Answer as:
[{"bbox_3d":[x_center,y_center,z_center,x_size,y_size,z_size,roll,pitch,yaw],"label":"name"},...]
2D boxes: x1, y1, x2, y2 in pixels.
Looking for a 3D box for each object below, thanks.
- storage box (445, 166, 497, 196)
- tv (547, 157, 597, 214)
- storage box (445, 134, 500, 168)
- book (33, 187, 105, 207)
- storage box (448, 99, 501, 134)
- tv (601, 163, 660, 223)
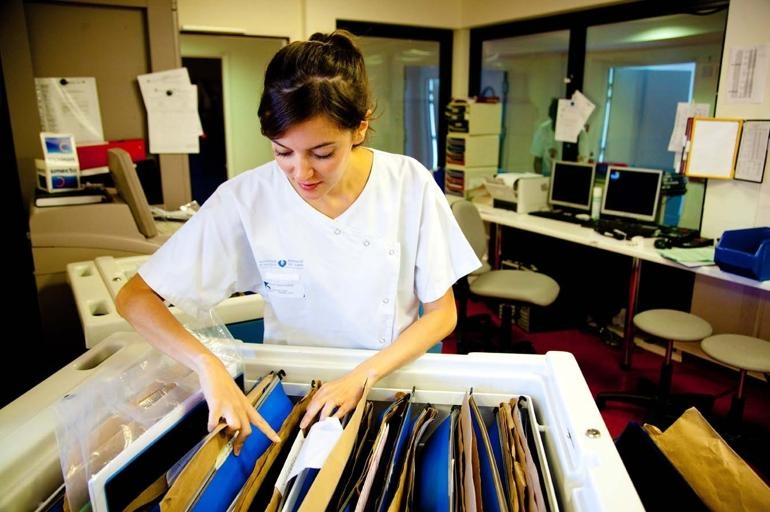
[{"bbox_3d":[0.803,-0.741,4.821,0.349,0.223,0.339,-10,20,-27],"label":"storage box"},{"bbox_3d":[1.423,-0.520,3.949,0.140,0.379,0.388,-9,16,-35],"label":"tv"},{"bbox_3d":[0.825,-1.024,4.851,0.369,0.259,0.366,-7,18,-24],"label":"storage box"},{"bbox_3d":[-1.597,-0.304,2.673,0.323,0.056,0.298,-8,18,-27],"label":"book"},{"bbox_3d":[0.827,-1.235,4.773,0.385,0.237,0.379,-9,17,-27],"label":"storage box"},{"bbox_3d":[1.693,-0.427,3.577,0.049,0.339,0.345,-10,24,-42],"label":"tv"}]
